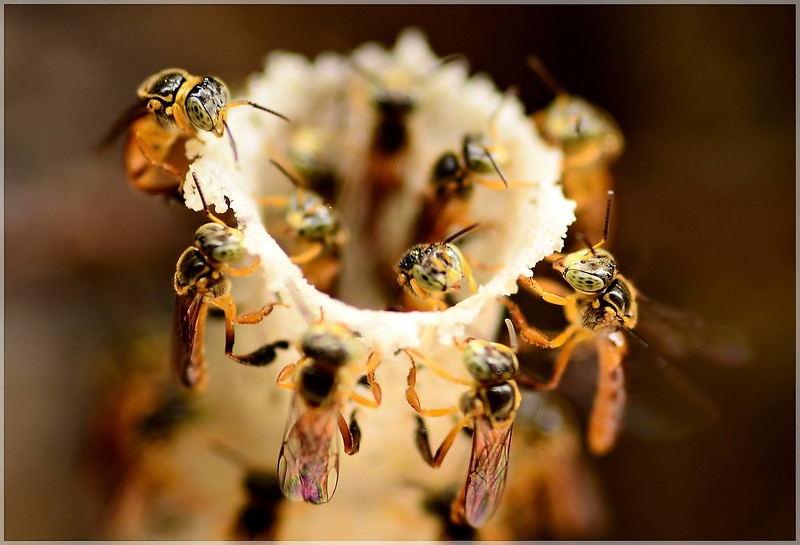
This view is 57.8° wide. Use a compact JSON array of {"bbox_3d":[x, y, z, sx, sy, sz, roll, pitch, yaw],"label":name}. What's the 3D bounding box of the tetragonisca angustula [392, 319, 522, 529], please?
[{"bbox_3d":[0.225,0.547,2.486,0.384,0.767,0.326,-2,-1,9],"label":"tetragonisca angustula"}]
